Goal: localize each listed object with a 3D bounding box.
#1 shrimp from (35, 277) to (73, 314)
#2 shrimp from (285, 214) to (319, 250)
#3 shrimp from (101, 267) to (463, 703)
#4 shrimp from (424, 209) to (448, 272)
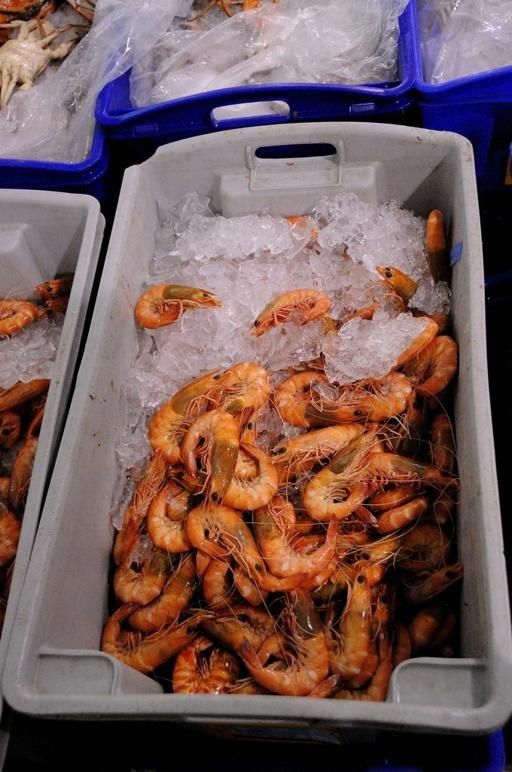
[{"bbox_3d":[-0.481,-0.215,1.479,0.089,0.037,0.093,1,81,6],"label":"shrimp"},{"bbox_3d":[0.109,-0.352,1.427,0.062,0.021,0.080,-17,87,-28],"label":"shrimp"},{"bbox_3d":[0.046,0.214,1.156,0.644,0.187,0.672,2,61,9],"label":"shrimp"},{"bbox_3d":[0.386,-0.302,1.315,0.038,0.034,0.143,9,75,-12],"label":"shrimp"}]
